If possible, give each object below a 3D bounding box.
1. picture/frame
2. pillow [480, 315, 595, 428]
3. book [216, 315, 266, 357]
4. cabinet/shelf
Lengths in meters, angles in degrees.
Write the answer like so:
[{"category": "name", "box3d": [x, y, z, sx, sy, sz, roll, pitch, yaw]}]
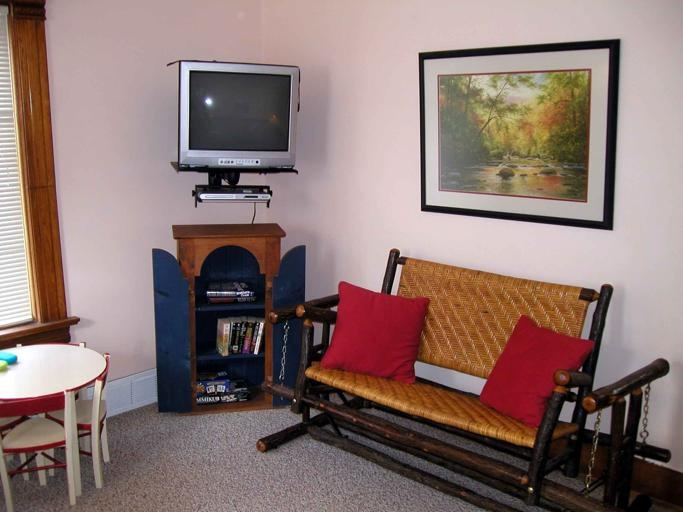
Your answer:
[{"category": "picture/frame", "box3d": [1.014, -0.691, 3.026, 1.087, 0.913, 0.049, 7, 17, 33]}, {"category": "pillow", "box3d": [0.989, 0.588, 2.757, 0.139, 0.477, 0.465, 29, -1, -33]}, {"category": "book", "box3d": [-0.663, 0.537, 3.662, 0.359, 0.270, 0.220, 1, 2, -18]}, {"category": "cabinet/shelf", "box3d": [-0.759, 0.406, 3.581, 1.117, 1.366, 0.721, -3, 8, -25]}]
